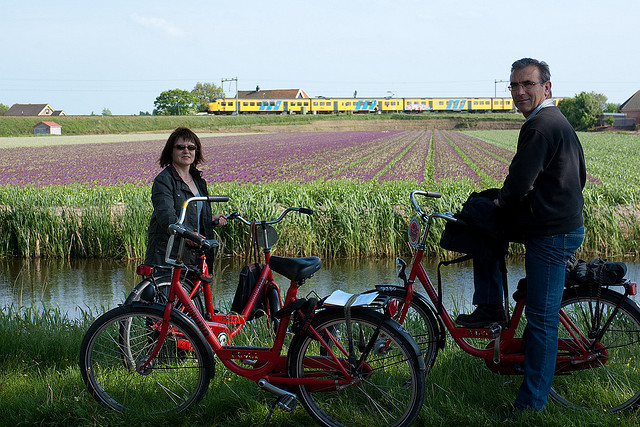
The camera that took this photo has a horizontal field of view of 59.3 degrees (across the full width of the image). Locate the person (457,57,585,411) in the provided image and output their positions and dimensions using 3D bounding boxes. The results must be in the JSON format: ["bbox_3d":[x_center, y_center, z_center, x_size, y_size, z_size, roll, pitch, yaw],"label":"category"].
[{"bbox_3d":[1.814,0.161,4.896,0.776,2.984,0.586,5,9,43],"label":"person"}]

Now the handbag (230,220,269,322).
[{"bbox_3d":[-0.583,0.542,5.262,0.354,0.785,0.287,-2,5,15],"label":"handbag"}]

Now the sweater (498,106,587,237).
[{"bbox_3d":[1.922,-0.352,4.801,0.692,1.099,0.264,-2,7,-9],"label":"sweater"}]

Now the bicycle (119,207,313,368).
[{"bbox_3d":[-0.895,0.724,5.423,1.215,1.484,2.338,5,3,36],"label":"bicycle"}]
